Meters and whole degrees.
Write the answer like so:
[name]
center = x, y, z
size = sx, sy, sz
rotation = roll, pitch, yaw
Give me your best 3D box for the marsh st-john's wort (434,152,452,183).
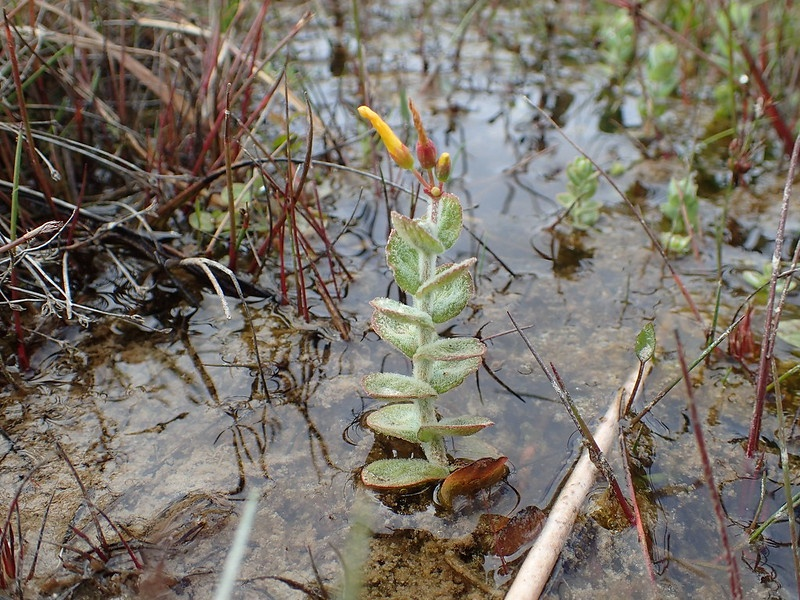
[marsh st-john's wort]
center = 0.138, -0.417, 2.350
size = 0.049, 0.097, 0.042
rotation = -21, 37, -27
